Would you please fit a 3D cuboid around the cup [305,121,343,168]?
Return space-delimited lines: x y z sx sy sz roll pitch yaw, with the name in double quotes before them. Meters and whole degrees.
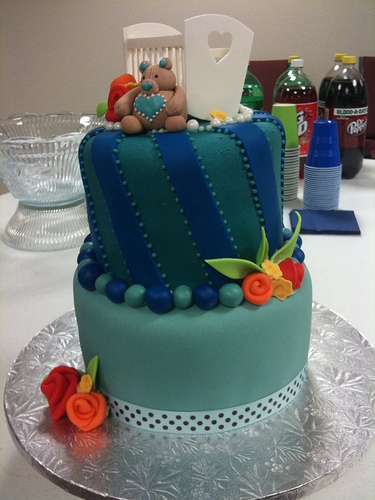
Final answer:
"cup" 0.458 -0.349 1.572 0.128 0.158 0.126 -1 18 0

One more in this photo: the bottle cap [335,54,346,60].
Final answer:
"bottle cap" 0.615 -0.780 1.867 0.041 0.021 0.038 -4 38 4

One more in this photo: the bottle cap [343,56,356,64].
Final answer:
"bottle cap" 0.605 -0.710 1.740 0.041 0.026 0.035 3 27 10

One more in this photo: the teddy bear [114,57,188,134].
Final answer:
"teddy bear" -0.050 -0.210 0.631 0.099 0.094 0.078 1 26 10

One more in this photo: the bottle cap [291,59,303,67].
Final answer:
"bottle cap" 0.417 -0.704 1.755 0.034 0.020 0.034 14 27 37
